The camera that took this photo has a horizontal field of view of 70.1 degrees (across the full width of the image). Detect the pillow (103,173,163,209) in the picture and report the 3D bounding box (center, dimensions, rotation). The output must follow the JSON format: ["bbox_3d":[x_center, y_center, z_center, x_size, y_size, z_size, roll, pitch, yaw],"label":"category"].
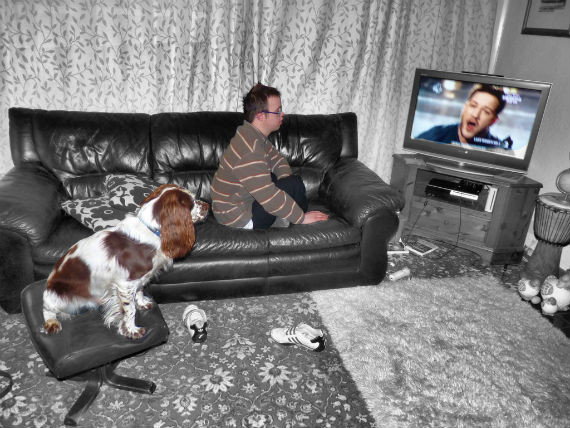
[{"bbox_3d":[-1.100,-0.155,2.857,0.311,0.105,0.347,21,34,9],"label":"pillow"}]

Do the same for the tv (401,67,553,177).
[{"bbox_3d":[1.764,-0.804,3.666,0.841,0.640,0.236,20,31,18],"label":"tv"}]

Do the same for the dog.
[{"bbox_3d":[-0.874,0.233,2.184,0.786,0.728,0.438,-2,21,-21],"label":"dog"}]

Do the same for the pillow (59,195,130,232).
[{"bbox_3d":[-1.288,-0.004,2.772,0.304,0.077,0.296,29,37,26],"label":"pillow"}]

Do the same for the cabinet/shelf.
[{"bbox_3d":[1.678,-0.020,3.656,0.771,0.521,0.364,20,31,27],"label":"cabinet/shelf"}]

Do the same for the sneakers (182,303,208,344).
[{"bbox_3d":[-0.585,0.716,2.696,0.113,0.125,0.240,-4,31,-18],"label":"sneakers"}]

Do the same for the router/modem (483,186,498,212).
[{"bbox_3d":[1.813,-0.124,3.582,0.042,0.226,0.098,-7,22,-27],"label":"router/modem"}]

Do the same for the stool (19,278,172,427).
[{"bbox_3d":[-0.995,0.629,2.271,0.726,0.590,0.747,-5,39,-30],"label":"stool"}]

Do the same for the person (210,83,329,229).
[{"bbox_3d":[-0.298,-0.481,3.238,0.993,1.197,0.936,-6,40,-14],"label":"person"}]

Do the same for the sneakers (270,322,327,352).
[{"bbox_3d":[0.087,0.782,2.636,0.348,0.152,0.150,10,32,-1],"label":"sneakers"}]
